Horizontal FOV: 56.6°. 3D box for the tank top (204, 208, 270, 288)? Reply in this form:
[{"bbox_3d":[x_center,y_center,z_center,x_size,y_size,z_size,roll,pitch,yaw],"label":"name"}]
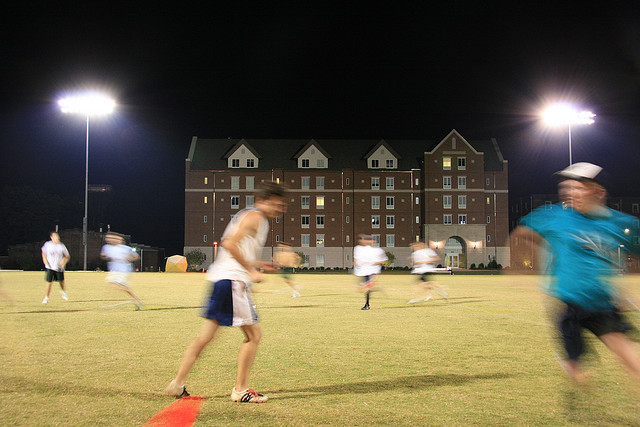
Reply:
[{"bbox_3d":[-1.252,0.521,9.011,0.880,1.206,0.513,0,1,-10],"label":"tank top"}]

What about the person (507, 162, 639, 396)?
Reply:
[{"bbox_3d":[3.853,0.900,8.861,1.564,3.296,0.669,0,1,26],"label":"person"}]

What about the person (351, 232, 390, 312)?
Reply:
[{"bbox_3d":[1.522,1.782,17.949,1.065,2.351,0.953,2,-4,0],"label":"person"}]

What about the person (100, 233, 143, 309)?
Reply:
[{"bbox_3d":[-5.808,1.682,17.377,1.033,2.161,0.930,0,1,-25],"label":"person"}]
